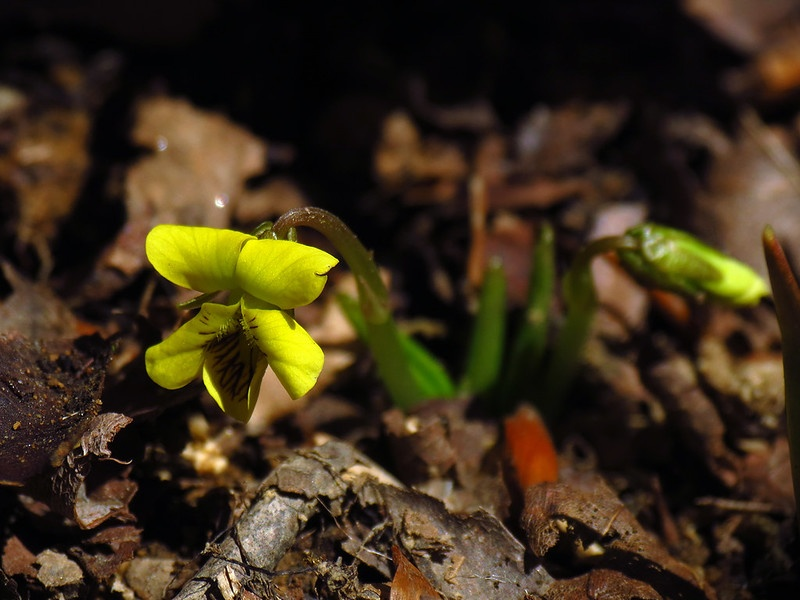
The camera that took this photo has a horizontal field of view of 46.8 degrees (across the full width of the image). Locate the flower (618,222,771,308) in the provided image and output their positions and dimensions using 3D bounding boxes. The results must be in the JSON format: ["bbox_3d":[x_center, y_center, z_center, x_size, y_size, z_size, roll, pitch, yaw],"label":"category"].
[{"bbox_3d":[1.274,-0.123,4.091,0.588,0.219,0.325,18,78,-3],"label":"flower"}]
